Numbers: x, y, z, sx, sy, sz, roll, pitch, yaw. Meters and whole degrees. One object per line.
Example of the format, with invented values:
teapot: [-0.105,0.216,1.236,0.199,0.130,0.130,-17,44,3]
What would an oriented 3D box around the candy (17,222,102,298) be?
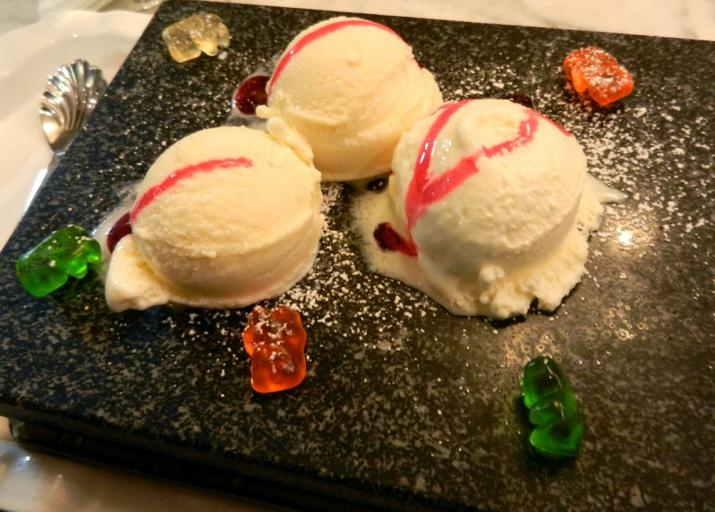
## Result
candy: [-0.960,0.017,2.123,0.248,0.083,0.142,-39,63,-19]

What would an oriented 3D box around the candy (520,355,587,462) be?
candy: [0.550,0.432,1.877,0.141,0.123,0.271,-4,57,2]

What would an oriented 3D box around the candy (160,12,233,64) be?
candy: [-0.622,-0.854,2.575,0.248,0.075,0.184,-16,58,-6]

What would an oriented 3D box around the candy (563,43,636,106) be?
candy: [0.847,-0.644,2.360,0.186,0.074,0.248,-40,60,-14]

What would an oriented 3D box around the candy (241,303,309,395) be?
candy: [-0.247,0.277,1.988,0.191,0.083,0.262,-13,57,-4]
